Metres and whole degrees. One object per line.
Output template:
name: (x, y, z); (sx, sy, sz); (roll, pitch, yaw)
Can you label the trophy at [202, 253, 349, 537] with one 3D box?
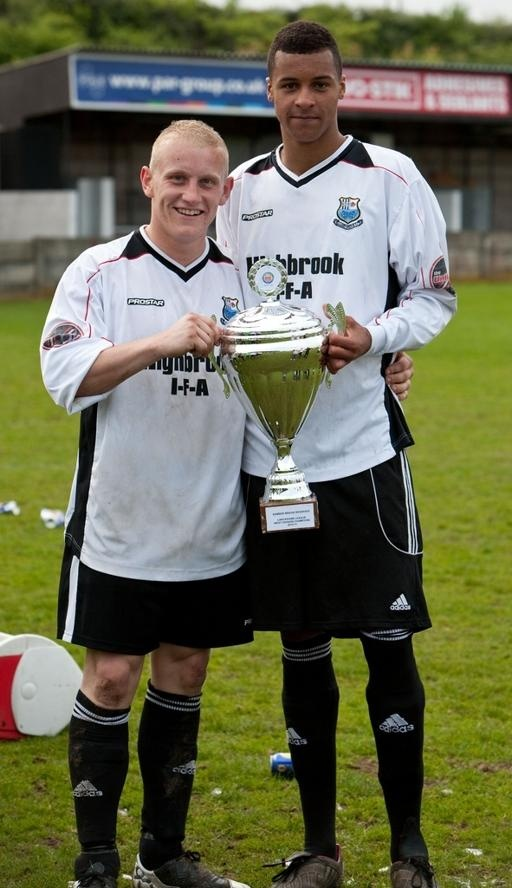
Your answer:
trophy: (0.037, -0.121, 2.458); (0.364, 0.611, 0.256); (-6, 5, -5)
